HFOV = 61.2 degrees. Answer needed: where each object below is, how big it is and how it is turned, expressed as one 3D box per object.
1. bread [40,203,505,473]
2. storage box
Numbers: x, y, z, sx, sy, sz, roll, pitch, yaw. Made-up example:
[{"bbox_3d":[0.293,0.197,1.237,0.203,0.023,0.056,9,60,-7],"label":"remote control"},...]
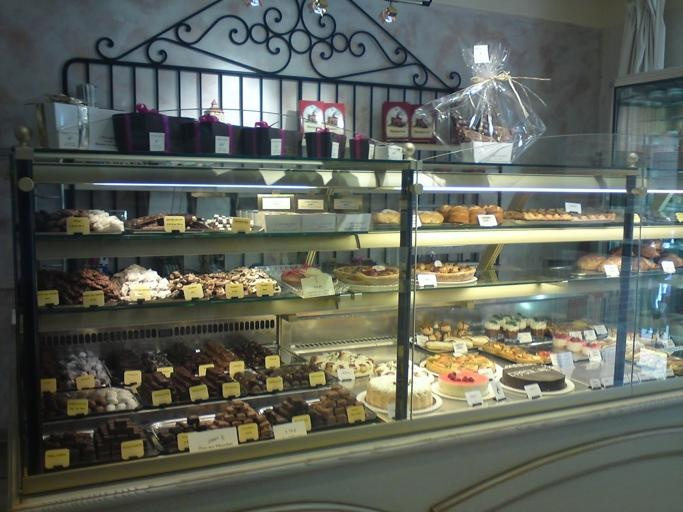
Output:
[{"bbox_3d":[-0.429,0.347,2.334,1.417,0.678,0.460,-5,6,-18],"label":"bread"},{"bbox_3d":[-0.272,-0.359,2.377,1.717,0.567,0.404,-4,6,-15],"label":"storage box"}]
